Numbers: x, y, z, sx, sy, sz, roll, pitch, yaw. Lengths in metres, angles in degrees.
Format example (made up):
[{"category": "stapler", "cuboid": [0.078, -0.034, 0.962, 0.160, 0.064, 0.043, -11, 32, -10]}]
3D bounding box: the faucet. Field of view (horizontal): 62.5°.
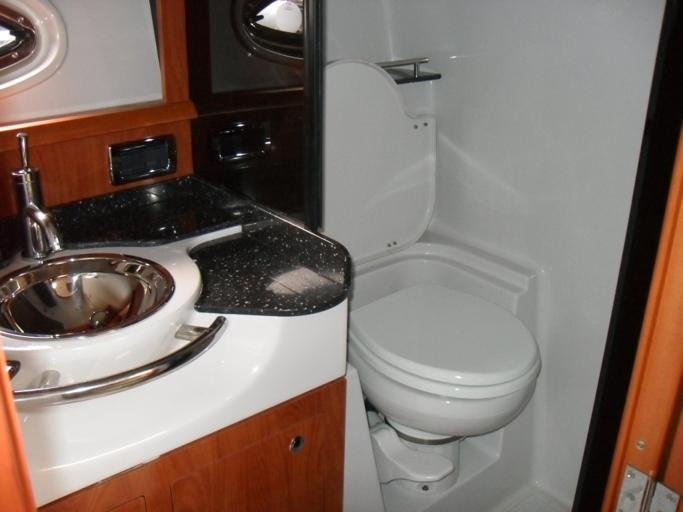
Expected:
[{"category": "faucet", "cuboid": [-0.601, -0.112, 1.095, 0.055, 0.249, 0.097, -20, 28, -39]}]
